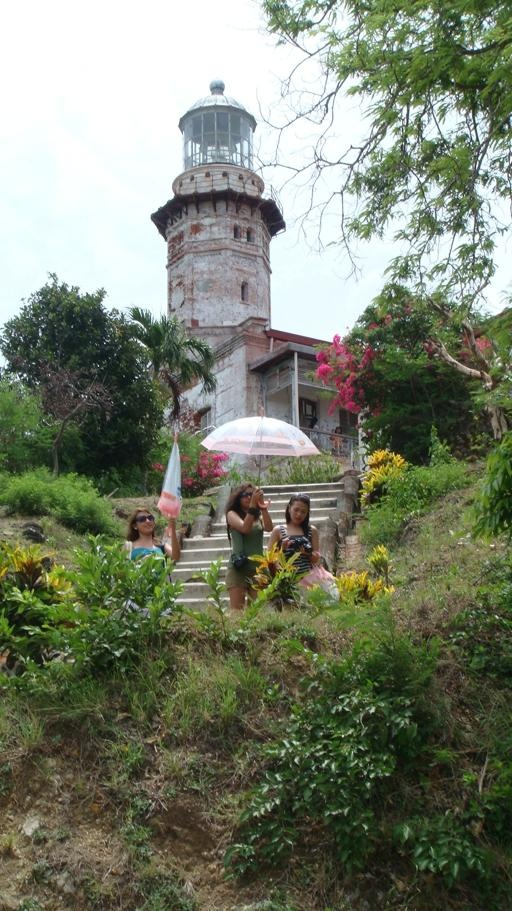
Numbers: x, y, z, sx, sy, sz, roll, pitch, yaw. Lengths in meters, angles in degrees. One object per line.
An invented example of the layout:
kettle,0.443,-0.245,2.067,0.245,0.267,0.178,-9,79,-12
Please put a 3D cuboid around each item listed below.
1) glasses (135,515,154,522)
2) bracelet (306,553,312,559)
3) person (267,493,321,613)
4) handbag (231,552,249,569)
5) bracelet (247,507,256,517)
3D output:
glasses,-0.861,0.480,5.582,0.148,0.072,0.140,6,-8,-29
bracelet,0.444,0.830,5.957,0.029,0.035,0.030,6,-4,15
person,0.338,0.895,6.027,0.378,1.144,0.365,-2,4,-14
handbag,-0.138,0.910,6.136,0.167,0.175,0.099,-6,-14,13
bracelet,-0.040,0.460,6.050,0.065,0.071,0.052,11,-1,29
